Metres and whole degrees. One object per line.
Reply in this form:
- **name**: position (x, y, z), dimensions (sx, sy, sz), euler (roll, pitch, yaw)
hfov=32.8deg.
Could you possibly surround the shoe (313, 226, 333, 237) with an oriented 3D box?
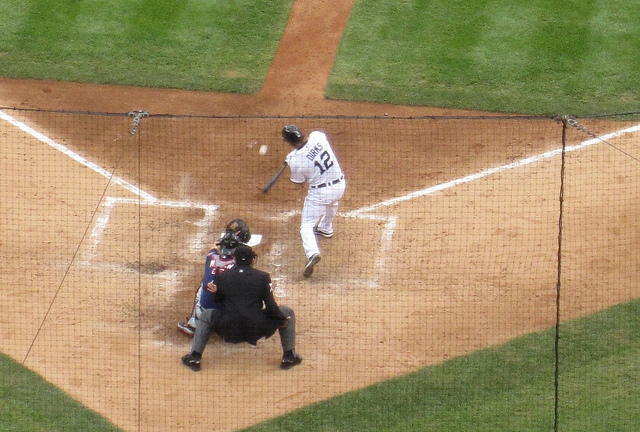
- **shoe**: position (0.014, 0.360, 22.701), dimensions (0.497, 0.172, 0.148), euler (4, 44, 7)

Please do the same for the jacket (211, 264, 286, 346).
- **jacket**: position (-1.534, 1.665, 20.785), dimensions (1.972, 1.032, 1.655), euler (3, 89, -8)

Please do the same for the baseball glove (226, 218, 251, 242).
- **baseball glove**: position (-1.742, 0.287, 21.409), dimensions (0.426, 0.486, 0.434), euler (8, 88, 28)

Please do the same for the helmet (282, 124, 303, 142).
- **helmet**: position (-0.550, -1.631, 21.839), dimensions (0.331, 0.297, 0.400), euler (-53, 39, -5)

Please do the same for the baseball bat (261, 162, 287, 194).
- **baseball bat**: position (-1.000, -0.762, 23.516), dimensions (0.946, 0.152, 0.159), euler (-46, 60, 24)

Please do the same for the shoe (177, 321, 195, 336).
- **shoe**: position (-2.628, 2.223, 21.326), dimensions (0.479, 0.187, 0.140), euler (28, 96, 25)

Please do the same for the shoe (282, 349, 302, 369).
- **shoe**: position (-0.569, 2.802, 20.972), dimensions (0.473, 0.374, 0.186), euler (-21, 41, -28)

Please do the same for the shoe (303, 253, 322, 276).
- **shoe**: position (-0.149, 1.012, 21.941), dimensions (0.566, 0.237, 0.226), euler (-55, 53, 27)
